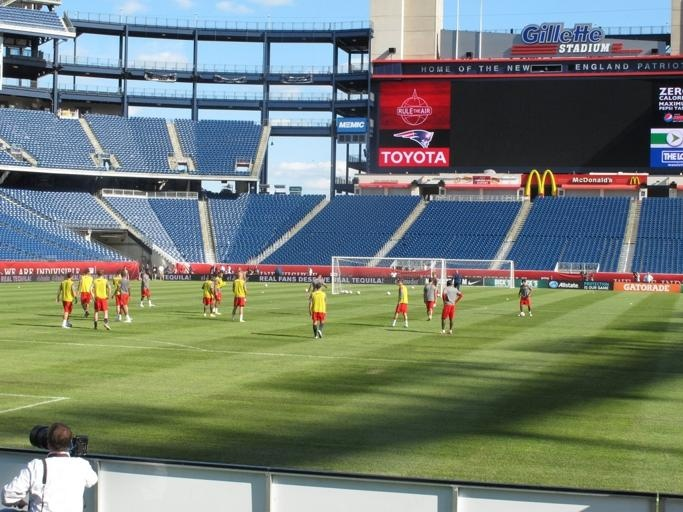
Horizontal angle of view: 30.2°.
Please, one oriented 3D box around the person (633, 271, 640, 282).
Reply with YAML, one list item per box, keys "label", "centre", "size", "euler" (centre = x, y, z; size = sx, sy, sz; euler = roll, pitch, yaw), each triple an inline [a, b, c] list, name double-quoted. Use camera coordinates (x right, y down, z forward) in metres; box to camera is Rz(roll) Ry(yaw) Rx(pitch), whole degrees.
- label: "person"
  centre: [21.629, 1.556, 93.327]
  size: [0.737, 0.938, 0.442]
  euler: [1, 3, 27]
